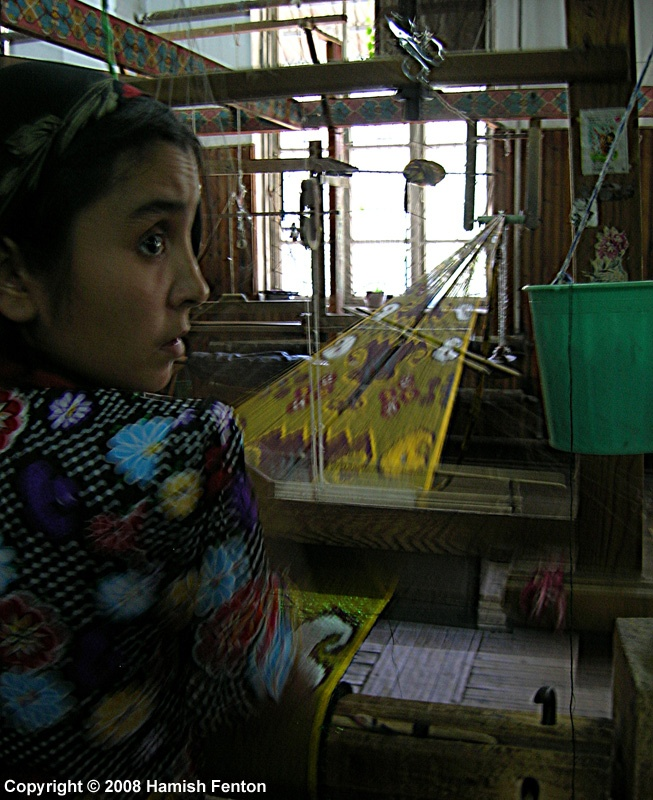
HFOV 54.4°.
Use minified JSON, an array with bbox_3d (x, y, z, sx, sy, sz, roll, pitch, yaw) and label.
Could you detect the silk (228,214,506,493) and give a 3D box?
[{"bbox_3d":[0.208,-0.176,1.873,0.432,0.111,1.236,25,44,17],"label":"silk"}]
